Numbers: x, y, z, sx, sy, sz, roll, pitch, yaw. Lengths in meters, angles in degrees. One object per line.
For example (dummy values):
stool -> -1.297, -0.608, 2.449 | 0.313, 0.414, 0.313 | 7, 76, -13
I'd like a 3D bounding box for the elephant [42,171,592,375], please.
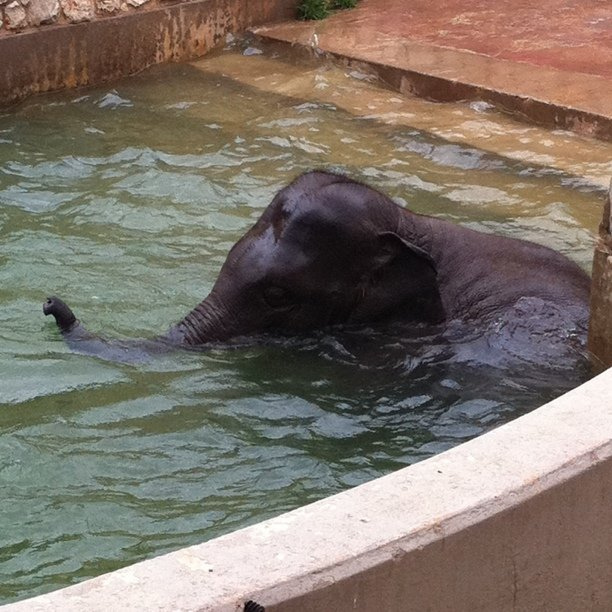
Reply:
elephant -> 0.136, 0.050, 3.102 | 2.062, 0.775, 0.702 | 2, 12, -22
